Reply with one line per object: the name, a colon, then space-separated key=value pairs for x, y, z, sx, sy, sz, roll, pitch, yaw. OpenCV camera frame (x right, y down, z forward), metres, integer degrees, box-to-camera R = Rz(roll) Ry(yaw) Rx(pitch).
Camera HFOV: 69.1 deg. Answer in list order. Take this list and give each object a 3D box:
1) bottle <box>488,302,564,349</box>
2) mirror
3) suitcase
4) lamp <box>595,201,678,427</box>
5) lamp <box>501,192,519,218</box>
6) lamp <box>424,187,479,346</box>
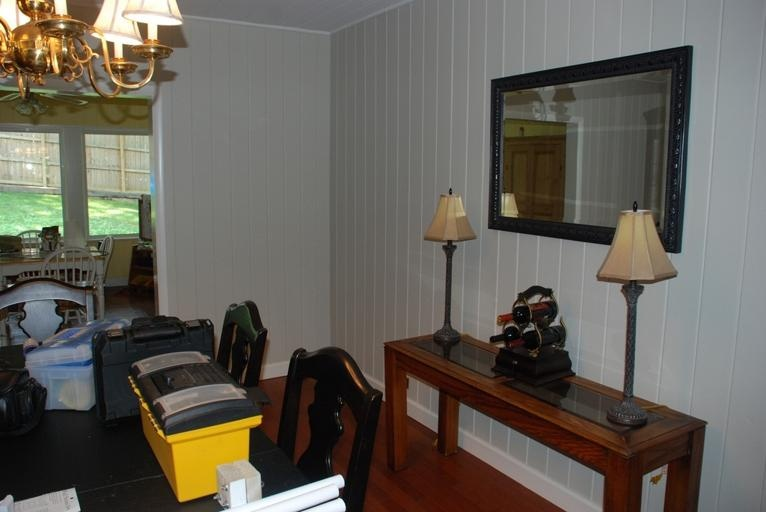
bottle: x=0.817 y=0.361 z=3.176 sx=0.337 sy=0.261 sz=0.264 roll=-3 pitch=2 yaw=-25
mirror: x=1.167 y=-0.590 z=3.047 sx=0.092 sy=1.012 sz=1.190 roll=-9 pitch=12 yaw=-40
suitcase: x=-1.069 y=0.520 z=2.623 sx=0.516 sy=0.463 sz=0.180 roll=-4 pitch=16 yaw=-32
lamp: x=1.241 y=0.262 z=2.720 sx=0.316 sy=1.049 sz=0.471 roll=6 pitch=12 yaw=36
lamp: x=0.797 y=-0.313 z=3.499 sx=0.130 sy=0.175 sz=0.131 roll=1 pitch=7 yaw=36
lamp: x=0.457 y=0.058 z=3.671 sx=0.306 sy=0.984 sz=0.460 roll=1 pitch=10 yaw=15
